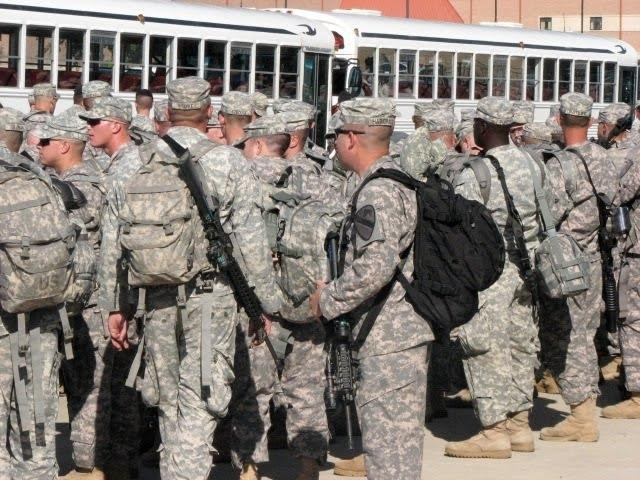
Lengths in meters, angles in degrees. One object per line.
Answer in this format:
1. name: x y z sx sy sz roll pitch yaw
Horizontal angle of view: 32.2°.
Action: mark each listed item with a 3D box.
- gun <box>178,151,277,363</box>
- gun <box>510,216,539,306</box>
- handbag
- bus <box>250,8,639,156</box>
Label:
1. gun: -0.678 0.107 7.975 0.245 1.690 0.455 -29 1 7
2. gun: 1.786 0.114 9.379 0.157 0.862 0.325 -13 19 5
3. handbag: 2.055 0.203 9.412 0.451 0.597 0.230 -1 4 3
4. bus: 3.856 -3.812 25.696 11.193 3.037 3.555 1 1 -39
